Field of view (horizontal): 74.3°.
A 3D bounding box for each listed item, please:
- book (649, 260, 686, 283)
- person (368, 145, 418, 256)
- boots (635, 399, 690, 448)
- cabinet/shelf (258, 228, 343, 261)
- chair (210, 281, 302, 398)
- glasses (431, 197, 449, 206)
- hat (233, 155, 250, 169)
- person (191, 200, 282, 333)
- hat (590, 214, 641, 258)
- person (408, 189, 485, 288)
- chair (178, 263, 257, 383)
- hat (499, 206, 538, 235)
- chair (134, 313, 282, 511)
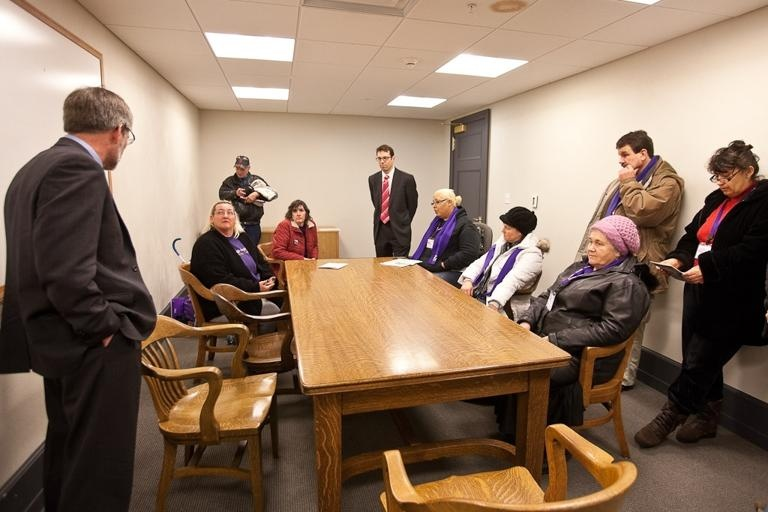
[{"bbox_3d":[1.982,0.097,3.543,0.214,0.031,0.284,17,13,-48],"label":"book"},{"bbox_3d":[0.087,-0.518,5.955,0.287,1.066,0.565,-6,14,-39],"label":"person"},{"bbox_3d":[1.913,1.120,3.481,0.492,0.214,0.155,-14,14,-25],"label":"boots"},{"bbox_3d":[-1.108,-0.173,7.174,0.752,0.524,0.840,-2,1,16],"label":"cabinet/shelf"},{"bbox_3d":[-0.847,0.631,3.544,0.551,0.780,0.535,1,6,-31],"label":"chair"},{"bbox_3d":[0.523,-0.525,4.856,0.080,0.074,0.188,-4,13,-36],"label":"glasses"},{"bbox_3d":[-1.751,-1.168,6.249,0.131,0.127,0.247,2,11,-9],"label":"hat"},{"bbox_3d":[-1.251,0.052,4.422,0.864,1.078,0.827,-5,3,-35],"label":"person"},{"bbox_3d":[1.541,-0.162,3.363,0.258,0.225,0.251,14,21,23],"label":"hat"},{"bbox_3d":[0.700,-0.167,5.265,0.814,1.173,0.889,0,3,-23],"label":"person"},{"bbox_3d":[-1.326,0.546,4.164,0.580,0.812,0.632,-3,-4,-9],"label":"chair"},{"bbox_3d":[1.092,-0.296,4.131,0.262,0.237,0.202,0,14,3],"label":"hat"},{"bbox_3d":[-1.084,0.850,3.342,0.963,1.426,1.017,0,14,-5],"label":"chair"}]
